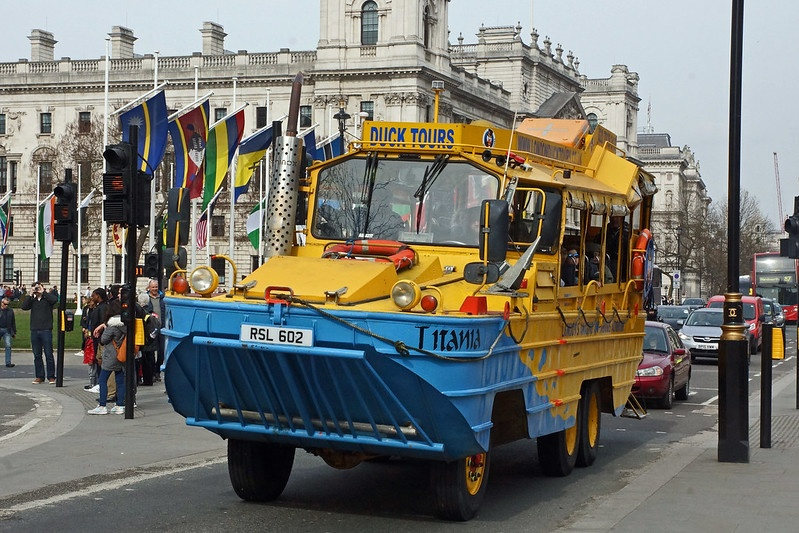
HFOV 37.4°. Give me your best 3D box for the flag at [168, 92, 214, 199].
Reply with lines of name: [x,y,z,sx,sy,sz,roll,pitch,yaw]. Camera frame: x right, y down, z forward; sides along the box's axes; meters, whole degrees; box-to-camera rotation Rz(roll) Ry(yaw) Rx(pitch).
flag: [-7.158,-3.987,39.913,1.312,3.675,0.471,2,29,-7]

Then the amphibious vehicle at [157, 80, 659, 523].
amphibious vehicle: [0.514,0.569,18.578,4.888,5.838,10.035,2,2,23]

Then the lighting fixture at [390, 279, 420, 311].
lighting fixture: [0.107,0.385,14.730,0.330,0.394,0.328,14,0,14]

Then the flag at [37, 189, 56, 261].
flag: [-15.969,-1.818,52.941,0.601,2.824,6.126,-1,1,-17]

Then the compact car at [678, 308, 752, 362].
compact car: [9.760,2.300,37.903,1.253,1.662,2.704,0,1,15]

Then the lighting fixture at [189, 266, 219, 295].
lighting fixture: [-2.595,0.192,15.456,0.357,0.376,0.367,-1,1,-11]

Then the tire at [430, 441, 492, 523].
tire: [0.774,2.798,15.406,0.326,0.894,0.923,-1,-20,24]

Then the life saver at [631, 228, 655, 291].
life saver: [4.137,-0.023,19.918,0.221,0.896,0.765,2,37,18]

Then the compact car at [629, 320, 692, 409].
compact car: [5.854,2.276,26.506,1.300,1.226,2.784,-1,-4,21]
